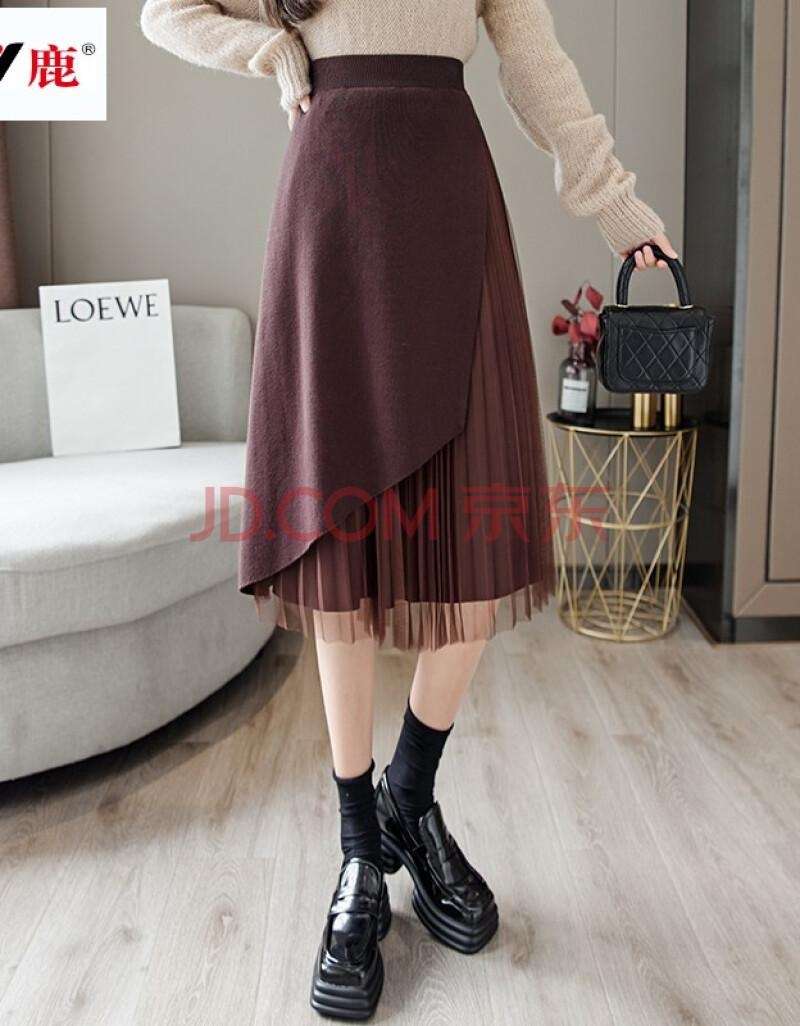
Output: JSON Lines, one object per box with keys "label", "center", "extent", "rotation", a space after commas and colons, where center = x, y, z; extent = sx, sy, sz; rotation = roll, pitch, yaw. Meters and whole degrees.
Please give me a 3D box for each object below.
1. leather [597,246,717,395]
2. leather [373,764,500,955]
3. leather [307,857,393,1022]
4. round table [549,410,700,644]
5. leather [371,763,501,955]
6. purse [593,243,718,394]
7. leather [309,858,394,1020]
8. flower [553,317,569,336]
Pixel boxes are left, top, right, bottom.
{"label": "leather", "center": [0.412, -0.303, 1.367], "extent": [0.172, 0.239, 0.098], "rotation": [1, -1, 10]}
{"label": "leather", "center": [0.063, 0.464, 1.191], "extent": [0.093, 0.117, 0.255], "rotation": [-9, 37, -27]}
{"label": "leather", "center": [-0.063, 0.512, 1.006], "extent": [0.058, 0.069, 0.170], "rotation": [5, 12, 3]}
{"label": "round table", "center": [0.628, 0.020, 2.327], "extent": [0.388, 0.576, 0.402], "rotation": [-2, 15, 0]}
{"label": "leather", "center": [0.047, 0.460, 1.179], "extent": [0.094, 0.117, 0.256], "rotation": [-9, 38, -27]}
{"label": "purse", "center": [0.410, -0.306, 1.365], "extent": [0.171, 0.240, 0.091], "rotation": [2, 0, 8]}
{"label": "leather", "center": [-0.062, 0.508, 1.004], "extent": [0.058, 0.068, 0.171], "rotation": [5, 12, 3]}
{"label": "flower", "center": [0.431, -0.492, 2.250], "extent": [0.041, 0.060, 0.020], "rotation": [4, -7, -9]}
